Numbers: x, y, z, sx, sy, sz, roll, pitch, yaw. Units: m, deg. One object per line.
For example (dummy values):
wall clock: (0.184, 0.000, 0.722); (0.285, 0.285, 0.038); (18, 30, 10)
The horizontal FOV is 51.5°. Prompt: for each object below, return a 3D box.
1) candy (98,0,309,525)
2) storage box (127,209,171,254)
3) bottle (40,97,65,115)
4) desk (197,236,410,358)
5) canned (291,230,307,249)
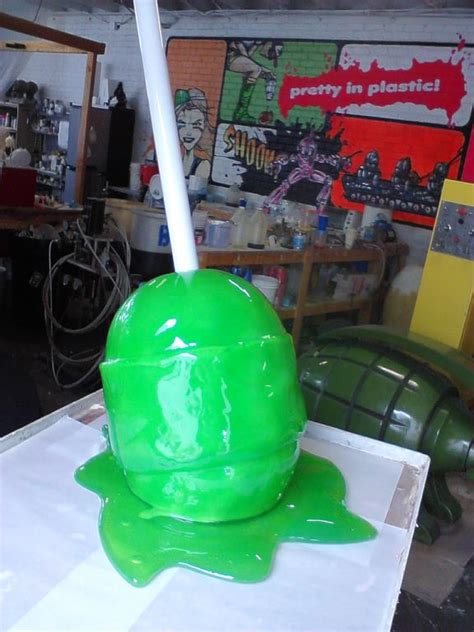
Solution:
candy: (-0.011, -0.039, 0.686); (0.329, 0.673, 0.178); (4, 13, -14)
storage box: (-0.673, -0.649, 3.895); (0.393, 0.377, 0.377); (1, 11, -3)
bottle: (-2.958, -3.363, 7.967); (0.403, 0.196, 0.553); (-7, 38, -32)
desk: (0.402, -0.151, 2.662); (0.937, 0.515, 0.285); (-14, 30, -32)
canned: (0.464, -0.563, 3.652); (0.130, 0.135, 0.126); (2, 3, -22)
